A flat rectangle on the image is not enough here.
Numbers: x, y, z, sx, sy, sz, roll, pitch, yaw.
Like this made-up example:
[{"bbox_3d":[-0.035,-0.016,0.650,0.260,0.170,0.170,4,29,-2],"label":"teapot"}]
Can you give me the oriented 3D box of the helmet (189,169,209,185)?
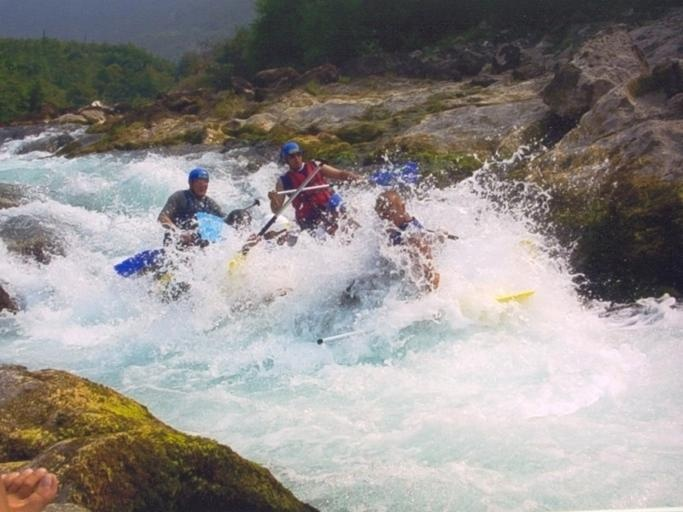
[{"bbox_3d":[-2.960,-1.657,14.708,0.309,0.232,0.457,7,-13,-44],"label":"helmet"}]
